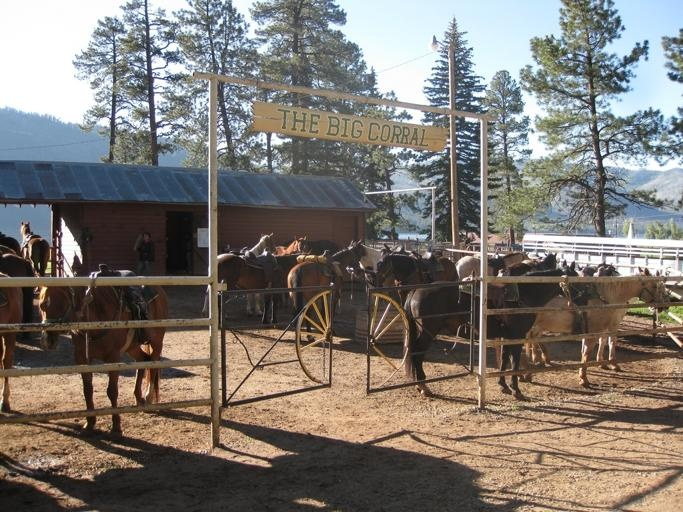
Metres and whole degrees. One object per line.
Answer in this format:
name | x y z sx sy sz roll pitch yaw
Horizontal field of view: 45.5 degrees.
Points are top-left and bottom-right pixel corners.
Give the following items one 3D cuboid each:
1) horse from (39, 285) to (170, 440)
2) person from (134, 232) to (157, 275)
horse | -3.678 1.465 13.154 0.969 2.442 3.676 0 2 12
person | -6.123 -0.085 25.432 0.551 1.211 1.704 -3 15 -14
